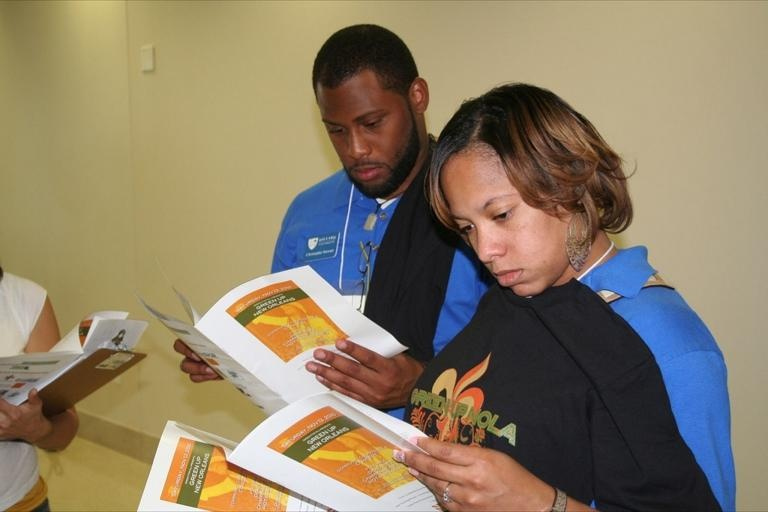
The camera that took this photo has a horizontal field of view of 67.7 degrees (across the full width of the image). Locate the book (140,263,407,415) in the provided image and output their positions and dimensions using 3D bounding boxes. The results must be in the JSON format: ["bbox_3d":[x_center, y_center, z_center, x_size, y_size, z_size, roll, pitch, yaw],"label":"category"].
[{"bbox_3d":[-0.300,0.191,1.561,0.525,0.449,0.197,43,13,-14],"label":"book"}]

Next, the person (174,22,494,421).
[{"bbox_3d":[-0.135,-0.025,2.016,0.976,1.439,0.964,7,11,40],"label":"person"}]

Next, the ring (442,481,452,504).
[{"bbox_3d":[0.137,0.552,1.323,0.018,0.040,0.034,7,26,7],"label":"ring"}]

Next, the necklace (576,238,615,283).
[{"bbox_3d":[0.536,0.019,1.439,0.095,0.022,0.092,-40,11,27],"label":"necklace"}]
